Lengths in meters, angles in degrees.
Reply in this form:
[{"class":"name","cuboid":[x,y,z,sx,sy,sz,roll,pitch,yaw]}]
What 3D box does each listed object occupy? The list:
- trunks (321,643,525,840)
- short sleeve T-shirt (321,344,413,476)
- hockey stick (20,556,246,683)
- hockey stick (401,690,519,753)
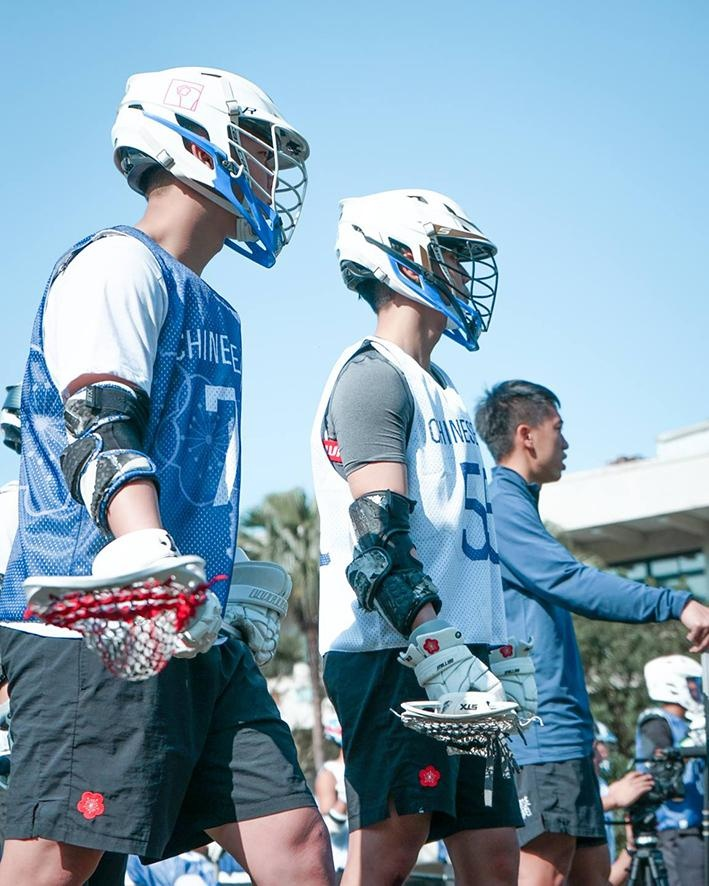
[{"class":"trunks","cuboid":[0.262,0.847,4.429,0.614,0.809,0.976,-3,-16,-3]},{"class":"short sleeve T-shirt","cuboid":[0.043,-0.080,4.069,0.209,0.359,0.257,-3,-42,-3]},{"class":"hockey stick","cuboid":[-0.456,0.364,2.867,0.326,0.152,0.403,-10,-15,18]},{"class":"hockey stick","cuboid":[0.287,0.739,3.611,0.259,0.106,0.199,-1,-16,1]}]
